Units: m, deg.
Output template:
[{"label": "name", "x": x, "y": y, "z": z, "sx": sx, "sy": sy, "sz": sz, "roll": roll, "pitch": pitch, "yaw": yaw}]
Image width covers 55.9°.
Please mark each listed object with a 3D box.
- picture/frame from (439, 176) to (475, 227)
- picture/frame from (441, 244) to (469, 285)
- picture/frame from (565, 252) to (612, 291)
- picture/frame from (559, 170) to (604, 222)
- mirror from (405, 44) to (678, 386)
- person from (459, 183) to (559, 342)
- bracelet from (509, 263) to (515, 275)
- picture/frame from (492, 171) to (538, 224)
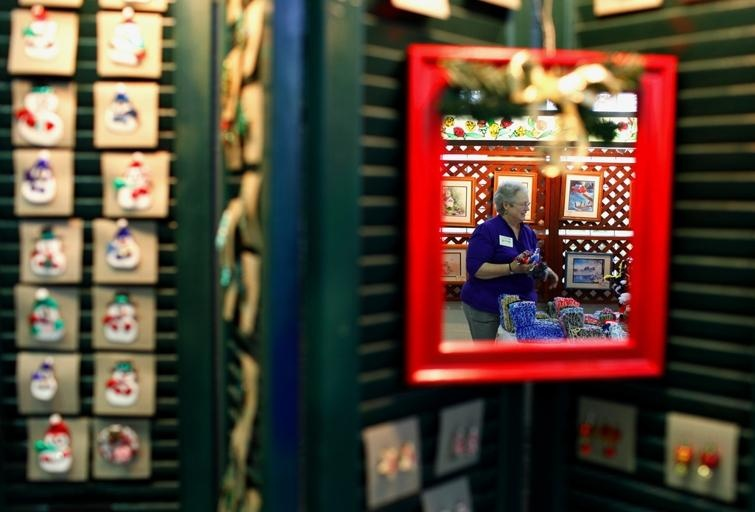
[{"label": "picture/frame", "x": 0.263, "y": -0.185, "z": 2.406, "sx": 0.184, "sy": 0.177, "sz": 0.012, "roll": 0, "pitch": 6, "yaw": -9}, {"label": "picture/frame", "x": 0.261, "y": 0.028, "z": 2.441, "sx": 0.140, "sy": 0.154, "sz": 0.011, "roll": 2, "pitch": 18, "yaw": 5}, {"label": "picture/frame", "x": 0.800, "y": 0.063, "z": 2.730, "sx": 0.156, "sy": 0.124, "sz": 0.011, "roll": 0, "pitch": 2, "yaw": -11}, {"label": "picture/frame", "x": 0.775, "y": -0.226, "z": 2.711, "sx": 0.185, "sy": 0.241, "sz": 0.025, "roll": 6, "pitch": 12, "yaw": 39}, {"label": "mirror", "x": 0.515, "y": -0.129, "z": 2.303, "sx": 1.159, "sy": 1.304, "sz": 0.061, "roll": -1, "pitch": 2, "yaw": -11}, {"label": "person", "x": 0.481, "y": 0.103, "z": 2.542, "sx": 0.374, "sy": 0.698, "sz": 0.312, "roll": 6, "pitch": 9, "yaw": 37}, {"label": "bracelet", "x": 0.455, "y": 0.047, "z": 2.442, "sx": 0.008, "sy": 0.027, "sz": 0.023, "roll": 3, "pitch": 6, "yaw": -9}, {"label": "picture/frame", "x": 0.480, "y": -0.209, "z": 2.541, "sx": 0.202, "sy": 0.193, "sz": 0.015, "roll": -5, "pitch": 5, "yaw": -42}]
